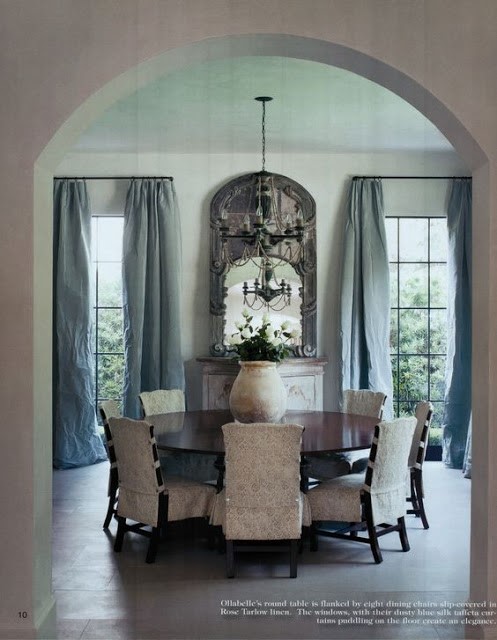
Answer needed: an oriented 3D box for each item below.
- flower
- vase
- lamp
[{"bbox_3d":[0.084,0.095,3.231,0.252,0.199,0.268,7,-2,12],"label":"flower"},{"bbox_3d":[0.043,0.308,3.154,0.229,0.285,0.248,-1,-1,32],"label":"vase"},{"bbox_3d":[0.079,-0.587,3.175,0.363,1.012,0.366,-3,-6,33],"label":"lamp"}]
